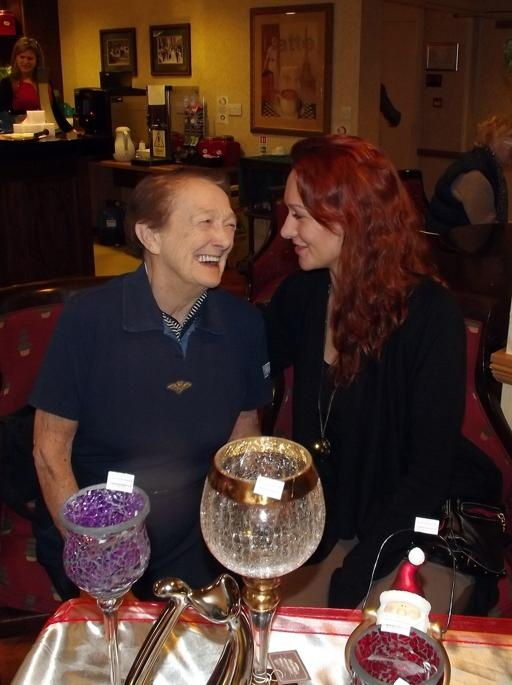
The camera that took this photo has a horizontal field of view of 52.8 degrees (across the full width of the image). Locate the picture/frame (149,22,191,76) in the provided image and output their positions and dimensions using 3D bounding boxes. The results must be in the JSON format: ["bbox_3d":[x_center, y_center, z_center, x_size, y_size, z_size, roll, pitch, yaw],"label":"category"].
[{"bbox_3d":[-1.117,-3.904,6.821,0.793,0.838,0.064,4,11,37],"label":"picture/frame"}]

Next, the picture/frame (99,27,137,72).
[{"bbox_3d":[-1.944,-4.203,7.367,0.696,0.827,0.056,10,18,25],"label":"picture/frame"}]

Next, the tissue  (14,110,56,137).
[{"bbox_3d":[-2.033,-2.005,4.741,0.349,0.223,0.357,16,27,29],"label":"tissue "}]

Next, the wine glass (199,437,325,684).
[{"bbox_3d":[0.008,0.262,0.538,0.116,0.364,0.159,2,19,7],"label":"wine glass"}]

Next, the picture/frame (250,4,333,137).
[{"bbox_3d":[0.381,-3.096,5.885,1.083,1.353,0.224,17,25,40],"label":"picture/frame"}]

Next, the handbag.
[{"bbox_3d":[0.520,0.477,1.261,0.119,0.052,0.155,3,41,-15],"label":"handbag"}]
